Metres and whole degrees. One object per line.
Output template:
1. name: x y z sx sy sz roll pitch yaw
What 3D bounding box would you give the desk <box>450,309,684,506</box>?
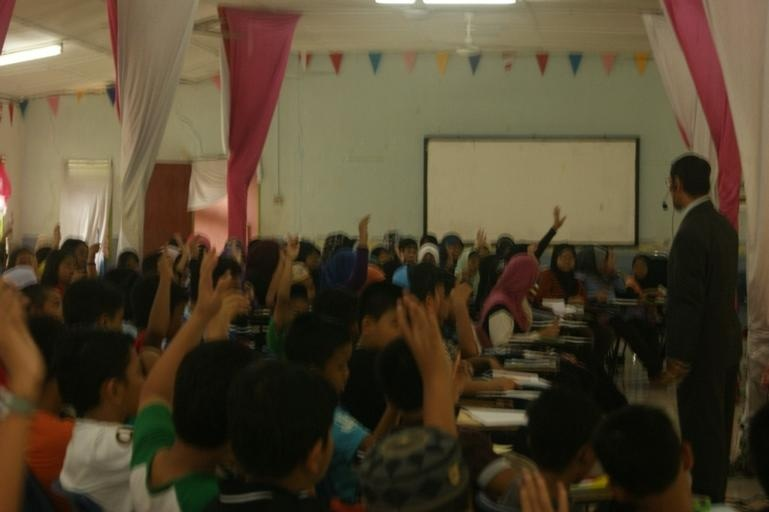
1. desk: 0.800 0.791 3.269 0.821 0.757 0.506 13 17 26
